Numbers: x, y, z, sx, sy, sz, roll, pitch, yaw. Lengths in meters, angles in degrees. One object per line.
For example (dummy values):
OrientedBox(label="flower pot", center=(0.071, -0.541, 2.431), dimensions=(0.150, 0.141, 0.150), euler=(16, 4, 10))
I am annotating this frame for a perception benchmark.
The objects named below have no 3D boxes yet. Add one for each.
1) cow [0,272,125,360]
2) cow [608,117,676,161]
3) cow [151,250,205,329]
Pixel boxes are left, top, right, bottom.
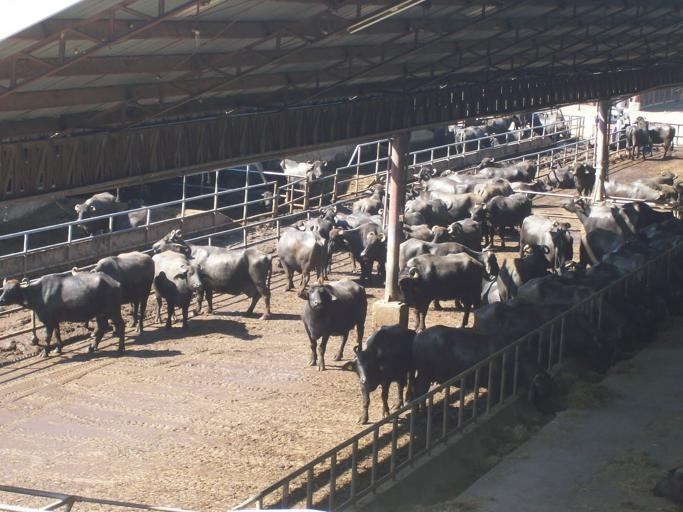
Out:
OrientedBox(label="cow", center=(-6.271, 1.403, 25.123), dimensions=(1.912, 1.241, 0.660), euler=(-1, 6, -6))
OrientedBox(label="cow", center=(14.121, -5.235, 49.899), dimensions=(4.238, 2.099, 1.533), euler=(0, 2, -40))
OrientedBox(label="cow", center=(-3.950, 0.842, 26.394), dimensions=(0.899, 1.670, 1.691), euler=(-6, 8, -32))
